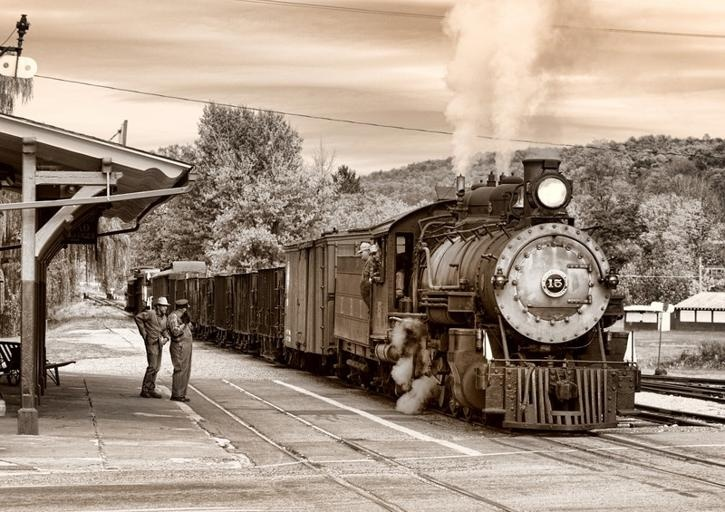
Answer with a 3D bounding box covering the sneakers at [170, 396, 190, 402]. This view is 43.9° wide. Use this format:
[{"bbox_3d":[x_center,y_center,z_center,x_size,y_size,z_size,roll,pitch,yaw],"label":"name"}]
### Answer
[{"bbox_3d":[-3.713,2.916,18.298,0.413,0.182,0.133,1,-1,-11],"label":"sneakers"}]
